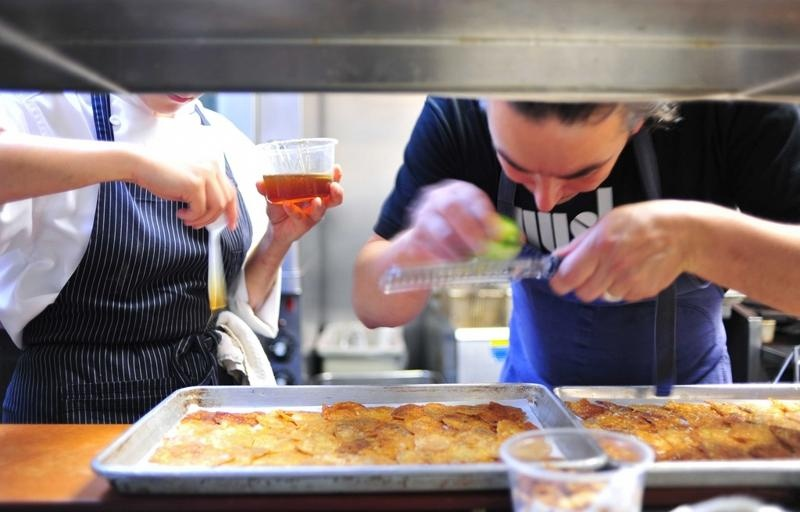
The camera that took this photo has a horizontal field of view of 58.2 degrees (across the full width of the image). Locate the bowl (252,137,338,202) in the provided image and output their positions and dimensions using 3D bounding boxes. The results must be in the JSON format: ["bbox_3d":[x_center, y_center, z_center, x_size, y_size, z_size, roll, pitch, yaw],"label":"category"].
[{"bbox_3d":[-0.280,-0.237,2.052,0.178,0.200,0.159,2,8,-8],"label":"bowl"}]

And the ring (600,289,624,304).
[{"bbox_3d":[0.548,0.107,1.829,0.064,0.015,0.064,6,-1,0],"label":"ring"}]

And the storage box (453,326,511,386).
[{"bbox_3d":[0.435,0.524,3.816,0.251,0.296,0.333,1,-6,6],"label":"storage box"}]

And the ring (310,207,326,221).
[{"bbox_3d":[-0.243,-0.126,2.140,0.047,0.015,0.035,1,-12,-38],"label":"ring"}]

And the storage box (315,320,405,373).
[{"bbox_3d":[-0.217,0.513,3.976,0.498,0.225,0.702,0,-1,1],"label":"storage box"}]
